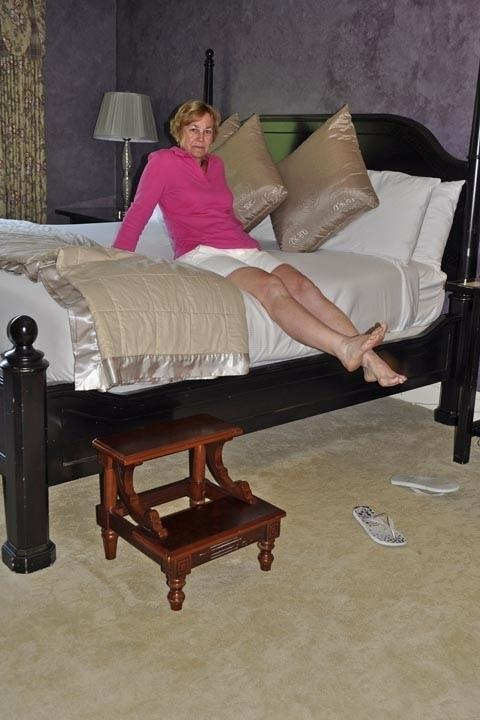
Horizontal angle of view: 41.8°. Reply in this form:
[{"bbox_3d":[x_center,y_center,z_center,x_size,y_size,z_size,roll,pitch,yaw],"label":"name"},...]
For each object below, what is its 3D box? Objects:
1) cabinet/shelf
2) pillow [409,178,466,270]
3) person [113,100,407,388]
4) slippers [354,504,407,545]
[{"bbox_3d":[-0.151,0.349,1.554,0.386,0.368,0.361,-8,15,-42],"label":"cabinet/shelf"},{"bbox_3d":[0.896,-0.574,2.680,0.086,0.313,0.376,14,19,10],"label":"pillow"},{"bbox_3d":[0.058,-0.386,1.933,0.639,0.592,1.046,-14,36,-42],"label":"person"},{"bbox_3d":[0.396,0.471,1.829,0.054,0.045,0.154,-6,17,-20],"label":"slippers"}]
